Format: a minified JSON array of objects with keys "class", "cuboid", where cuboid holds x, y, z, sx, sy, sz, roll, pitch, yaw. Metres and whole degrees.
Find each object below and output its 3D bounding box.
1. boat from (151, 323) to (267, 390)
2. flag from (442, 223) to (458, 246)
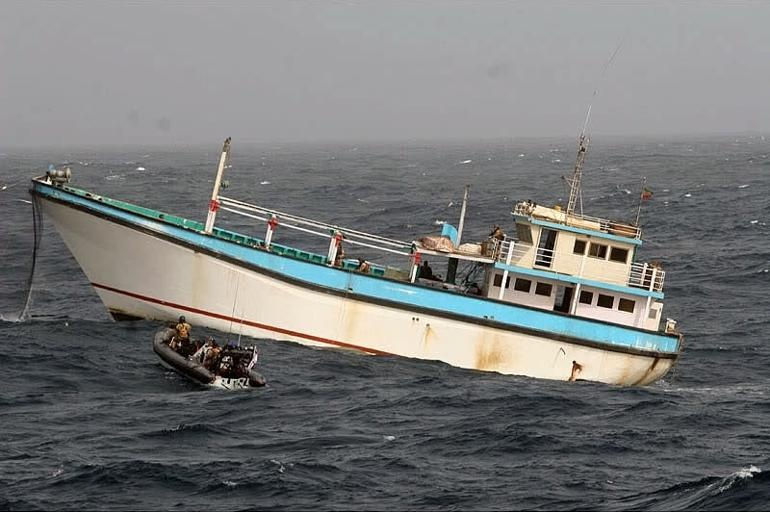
[{"class":"boat","cuboid":[-7.978,4.884,49.737,5.354,1.569,2.221,18,24,13]},{"class":"flag","cuboid":[3.418,-1.144,57.432,0.980,1.089,1.356,3,-18,8]}]
